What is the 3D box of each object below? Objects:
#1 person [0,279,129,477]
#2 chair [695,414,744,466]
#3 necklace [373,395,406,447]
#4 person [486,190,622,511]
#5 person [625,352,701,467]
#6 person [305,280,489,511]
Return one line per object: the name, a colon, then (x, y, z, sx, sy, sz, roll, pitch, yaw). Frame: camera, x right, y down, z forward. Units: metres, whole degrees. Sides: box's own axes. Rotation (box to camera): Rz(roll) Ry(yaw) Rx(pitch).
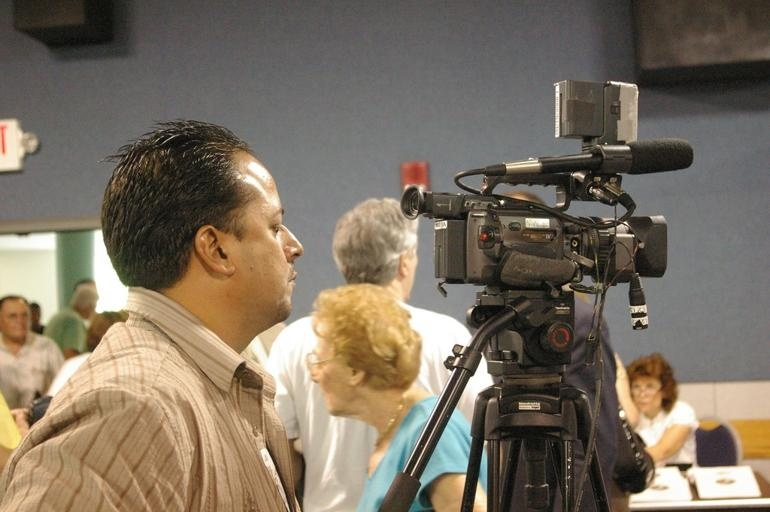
person: (-2.140, 0.770, 7.128, 1.018, 0.420, 1.024, -17, 10, -19)
chair: (2.435, 1.369, 7.748, 0.318, 0.307, 0.224, 0, 2, 20)
necklace: (0.014, 0.899, 5.811, 0.109, 0.274, 0.191, 16, 6, -14)
person: (0.940, 0.763, 5.759, 0.523, 2.187, 0.768, 0, -1, -1)
person: (1.947, 1.112, 7.485, 0.465, 0.793, 0.438, 4, -28, -34)
person: (0.195, 0.742, 6.296, 0.979, 1.379, 1.340, -2, -7, 12)
